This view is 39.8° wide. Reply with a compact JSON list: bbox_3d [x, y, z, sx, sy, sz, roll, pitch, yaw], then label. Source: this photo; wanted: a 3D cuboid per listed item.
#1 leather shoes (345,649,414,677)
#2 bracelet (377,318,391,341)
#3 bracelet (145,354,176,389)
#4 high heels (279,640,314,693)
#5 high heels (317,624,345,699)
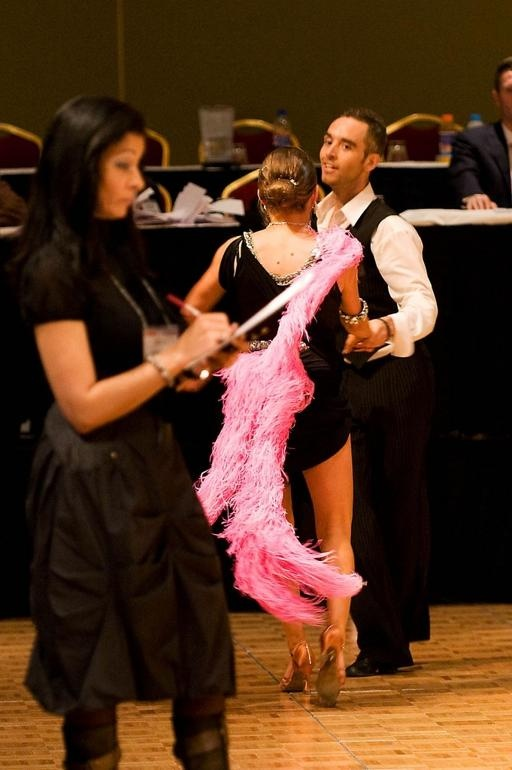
[{"bbox_3d":[0.393,0.922,2.307,0.259,0.094,0.084,0,-7,-11],"label":"leather shoes"},{"bbox_3d":[0.378,-0.165,2.056,0.044,0.046,0.056,1,2,4],"label":"bracelet"},{"bbox_3d":[-0.108,-0.015,0.817,0.015,0.036,0.028,-35,10,-13],"label":"bracelet"},{"bbox_3d":[0.128,0.857,2.141,0.079,0.132,0.183,1,-2,-12],"label":"high heels"},{"bbox_3d":[0.205,0.774,1.949,0.073,0.200,0.076,2,5,10],"label":"high heels"}]
